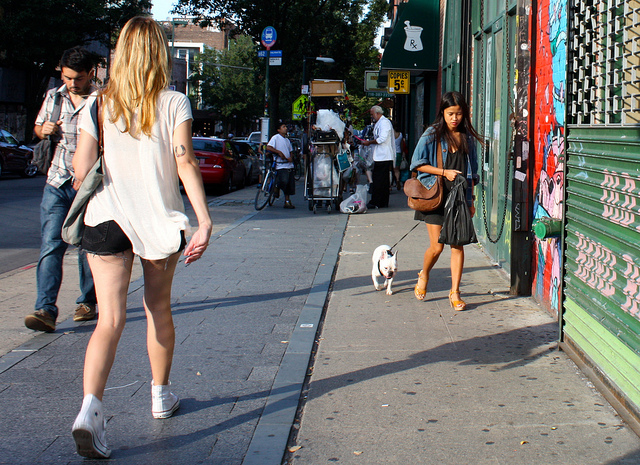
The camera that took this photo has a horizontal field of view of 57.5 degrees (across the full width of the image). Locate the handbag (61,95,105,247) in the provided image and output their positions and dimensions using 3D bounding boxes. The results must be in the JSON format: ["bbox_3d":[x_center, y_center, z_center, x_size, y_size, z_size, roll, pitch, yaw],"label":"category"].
[{"bbox_3d":[-1.430,-0.367,3.521,0.307,0.899,0.200,-1,7,-6],"label":"handbag"}]

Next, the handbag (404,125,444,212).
[{"bbox_3d":[1.159,-0.697,6.471,0.433,0.960,0.291,1,7,9],"label":"handbag"}]

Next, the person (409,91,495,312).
[{"bbox_3d":[1.394,-0.351,6.441,0.757,2.340,0.573,2,7,17],"label":"person"}]

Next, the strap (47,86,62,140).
[{"bbox_3d":[-2.482,-1.098,5.465,0.062,0.494,0.068,10,-13,4],"label":"strap"}]

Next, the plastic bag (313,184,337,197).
[{"bbox_3d":[0.134,-1.050,14.831,0.620,0.291,0.136,-1,7,-7],"label":"plastic bag"}]

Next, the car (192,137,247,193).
[{"bbox_3d":[-3.718,-2.458,22.276,1.968,1.694,4.955,2,12,5],"label":"car"}]

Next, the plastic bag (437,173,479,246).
[{"bbox_3d":[1.503,-0.261,6.338,0.414,0.851,0.428,2,16,6],"label":"plastic bag"}]

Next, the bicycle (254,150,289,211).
[{"bbox_3d":[-1.397,-1.311,15.726,0.362,1.276,1.385,1,8,11],"label":"bicycle"}]

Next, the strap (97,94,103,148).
[{"bbox_3d":[-1.301,-0.658,3.459,0.030,0.302,0.072,-5,8,-35],"label":"strap"}]

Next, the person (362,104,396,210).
[{"bbox_3d":[1.535,-1.984,15.375,0.931,2.667,0.988,2,6,20],"label":"person"}]

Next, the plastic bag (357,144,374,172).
[{"bbox_3d":[1.329,-2.148,16.976,0.294,0.766,1.094,-1,8,-10],"label":"plastic bag"}]

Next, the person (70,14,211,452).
[{"bbox_3d":[-1.083,0.010,3.456,0.792,2.531,0.577,-3,7,-24],"label":"person"}]

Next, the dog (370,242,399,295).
[{"bbox_3d":[0.786,0.433,7.411,0.245,0.615,0.998,2,12,-6],"label":"dog"}]

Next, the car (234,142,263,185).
[{"bbox_3d":[-3.091,-3.113,25.725,1.185,1.264,2.831,1,15,9],"label":"car"}]
